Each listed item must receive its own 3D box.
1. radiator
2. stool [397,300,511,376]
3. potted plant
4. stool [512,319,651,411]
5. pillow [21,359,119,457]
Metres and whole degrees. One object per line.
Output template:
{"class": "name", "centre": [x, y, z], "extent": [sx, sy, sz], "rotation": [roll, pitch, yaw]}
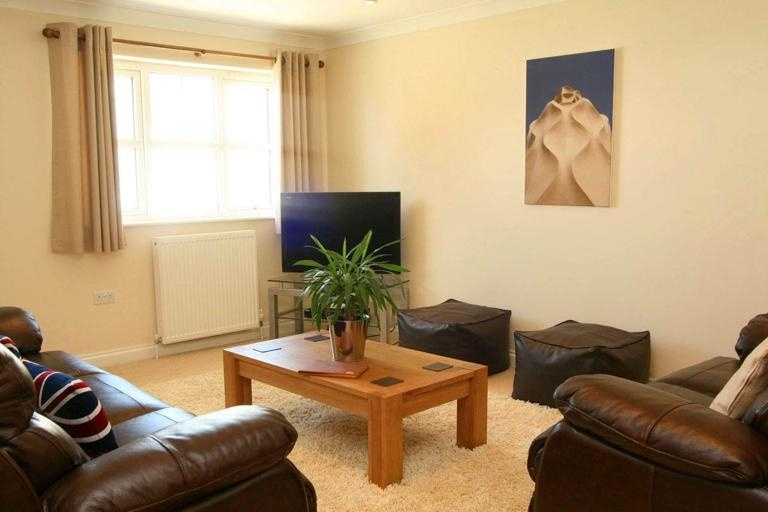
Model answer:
{"class": "radiator", "centre": [-1.749, 0.271, 5.838], "extent": [0.157, 1.072, 1.123], "rotation": [11, 14, 44]}
{"class": "stool", "centre": [0.593, 0.612, 5.011], "extent": [0.692, 0.449, 0.696], "rotation": [0, 2, 44]}
{"class": "potted plant", "centre": [-0.326, 0.323, 3.931], "extent": [0.744, 0.754, 0.772], "rotation": [7, 6, 40]}
{"class": "stool", "centre": [1.558, 0.854, 4.646], "extent": [0.993, 0.608, 0.991], "rotation": [-7, 8, -41]}
{"class": "pillow", "centre": [-1.376, 0.669, 2.549], "extent": [0.432, 0.234, 0.131], "rotation": [16, 29, 39]}
